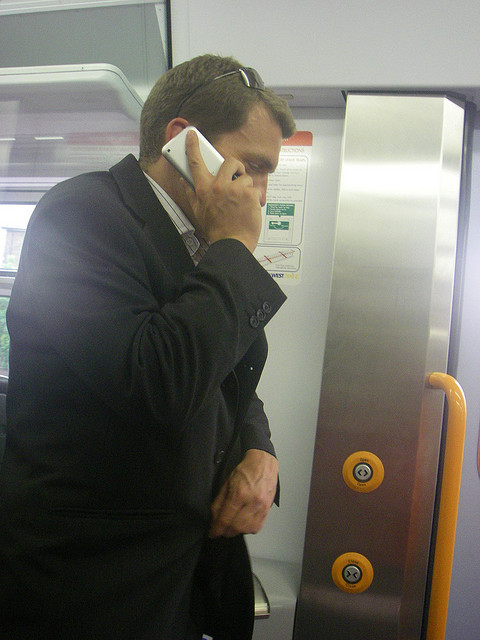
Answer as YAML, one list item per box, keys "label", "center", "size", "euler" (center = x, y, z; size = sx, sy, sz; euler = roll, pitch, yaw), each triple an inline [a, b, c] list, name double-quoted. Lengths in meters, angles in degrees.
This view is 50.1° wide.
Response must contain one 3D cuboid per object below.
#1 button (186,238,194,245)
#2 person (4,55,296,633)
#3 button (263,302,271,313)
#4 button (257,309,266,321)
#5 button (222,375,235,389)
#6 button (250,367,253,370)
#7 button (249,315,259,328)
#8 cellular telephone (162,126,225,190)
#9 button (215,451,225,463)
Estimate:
- label: "button"
  center: [-0.096, -0.148, 0.976]
  size: [0.015, 0.012, 0.018]
  euler: [0, 9, -10]
- label: "person"
  center: [-0.127, 0.040, 0.842]
  size: [0.393, 1.019, 0.471]
  euler: [2, 8, 6]
- label: "button"
  center: [0.037, -0.017, 0.721]
  size: [0.003, 0.012, 0.012]
  euler: [-6, 31, 43]
- label: "button"
  center: [0.029, -0.007, 0.712]
  size: [0.004, 0.014, 0.016]
  euler: [9, 11, 42]
- label: "button"
  center: [-0.017, 0.098, 0.814]
  size: [0.019, 0.021, 0.005]
  euler: [9, 3, -34]
- label: "button"
  center: [0.017, 0.077, 0.809]
  size: [0.004, 0.003, 0.001]
  euler: [5, 8, 17]
- label: "button"
  center: [0.018, 0.003, 0.700]
  size: [0.006, 0.015, 0.013]
  euler: [-1, -11, 31]
- label: "cellular telephone"
  center: [-0.084, -0.277, 0.889]
  size: [0.127, 0.074, 0.013]
  euler: [46, 5, 15]
- label: "button"
  center: [-0.032, 0.210, 0.789]
  size: [0.005, 0.017, 0.029]
  euler: [5, 9, 23]
